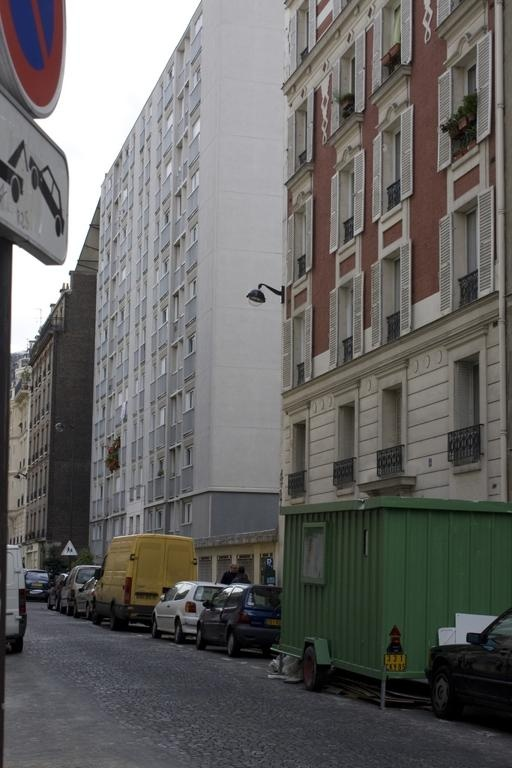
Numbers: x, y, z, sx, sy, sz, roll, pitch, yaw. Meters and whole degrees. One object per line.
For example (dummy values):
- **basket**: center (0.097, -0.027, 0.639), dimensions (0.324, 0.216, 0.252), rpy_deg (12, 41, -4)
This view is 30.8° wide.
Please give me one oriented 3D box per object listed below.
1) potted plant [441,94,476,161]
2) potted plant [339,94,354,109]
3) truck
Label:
- **potted plant**: center (4.665, -5.771, 20.763), dimensions (0.457, 1.149, 1.476), rpy_deg (0, 27, -14)
- **potted plant**: center (2.712, -8.522, 27.898), dimensions (0.364, 0.452, 0.338), rpy_deg (1, -6, -39)
- **truck**: center (-3.850, 6.431, 30.840), dimensions (2.023, 2.731, 4.559), rpy_deg (5, -11, -19)
